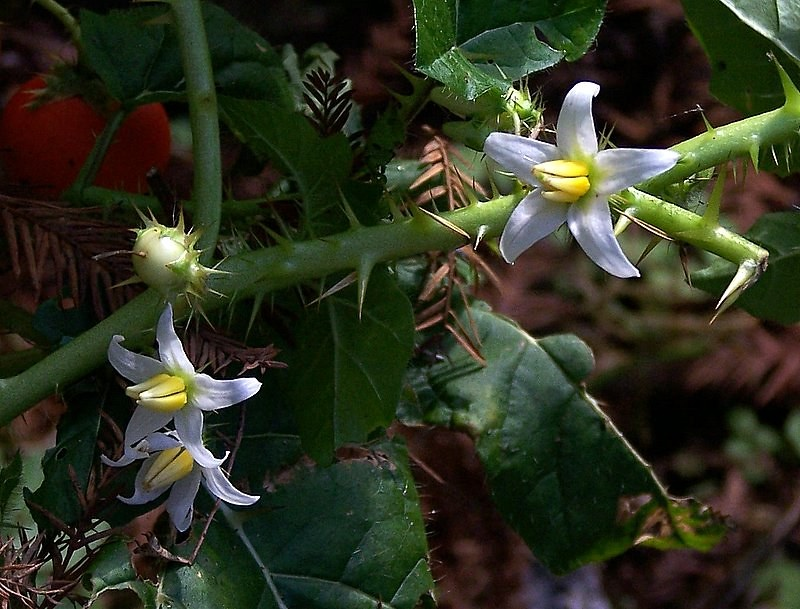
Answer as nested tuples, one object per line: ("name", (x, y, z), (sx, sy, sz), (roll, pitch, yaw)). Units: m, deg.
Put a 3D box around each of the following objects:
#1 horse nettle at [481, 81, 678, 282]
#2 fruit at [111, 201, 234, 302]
("horse nettle", (0.172, -0.119, 0.781), (0.183, 0.153, 0.133), (-33, 31, -23))
("fruit", (-0.226, -0.036, 0.775), (0.123, 0.124, 0.056), (-6, 76, 19))
